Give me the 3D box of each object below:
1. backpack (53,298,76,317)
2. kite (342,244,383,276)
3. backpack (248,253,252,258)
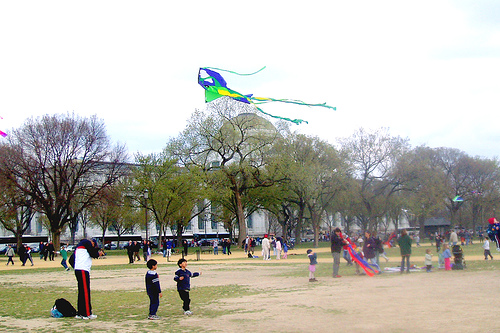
[{"bbox_3d":[-9.299,7.107,30.385,1.129,0.905,0.303,-5,-9,11],"label":"backpack"},{"bbox_3d":[7.532,6.245,40.289,2.391,0.362,0.877,36,22,14],"label":"kite"},{"bbox_3d":[-0.009,8.422,57.195,0.382,0.526,0.272,2,-21,-4],"label":"backpack"}]
